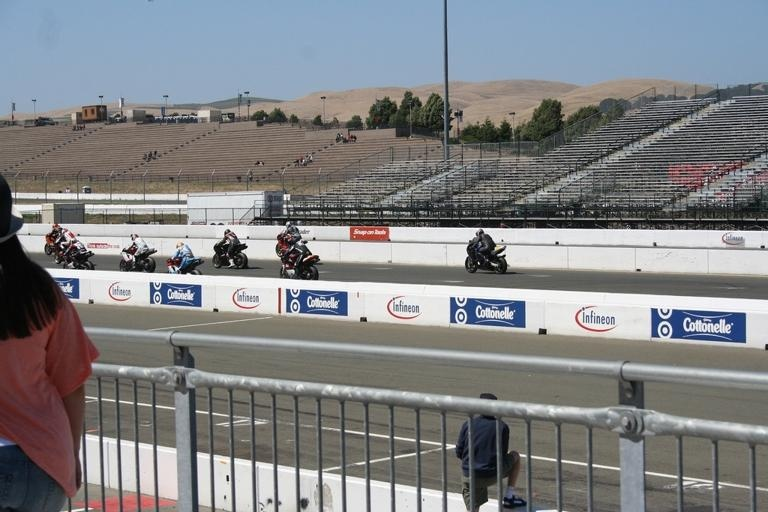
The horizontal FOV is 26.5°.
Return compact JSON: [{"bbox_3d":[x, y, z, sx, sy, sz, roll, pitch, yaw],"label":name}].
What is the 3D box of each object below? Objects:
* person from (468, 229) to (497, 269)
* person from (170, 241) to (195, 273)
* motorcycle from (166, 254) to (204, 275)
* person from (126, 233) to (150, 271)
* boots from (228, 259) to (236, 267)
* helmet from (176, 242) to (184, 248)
[{"bbox_3d":[5.112,-0.432,85.138,1.306,1.951,0.752,0,-3,2],"label":"person"},{"bbox_3d":[-10.341,0.067,82.553,1.079,1.500,0.579,-1,-3,34],"label":"person"},{"bbox_3d":[-10.225,0.415,82.533,2.123,1.181,0.804,1,4,18],"label":"motorcycle"},{"bbox_3d":[-13.164,-0.283,85.468,1.243,1.691,0.479,1,-3,-6],"label":"person"},{"bbox_3d":[-8.415,0.408,89.236,0.351,0.466,0.486,0,-2,-5],"label":"boots"},{"bbox_3d":[-11.037,-0.618,87.283,0.470,0.303,0.602,-2,5,7],"label":"helmet"}]
